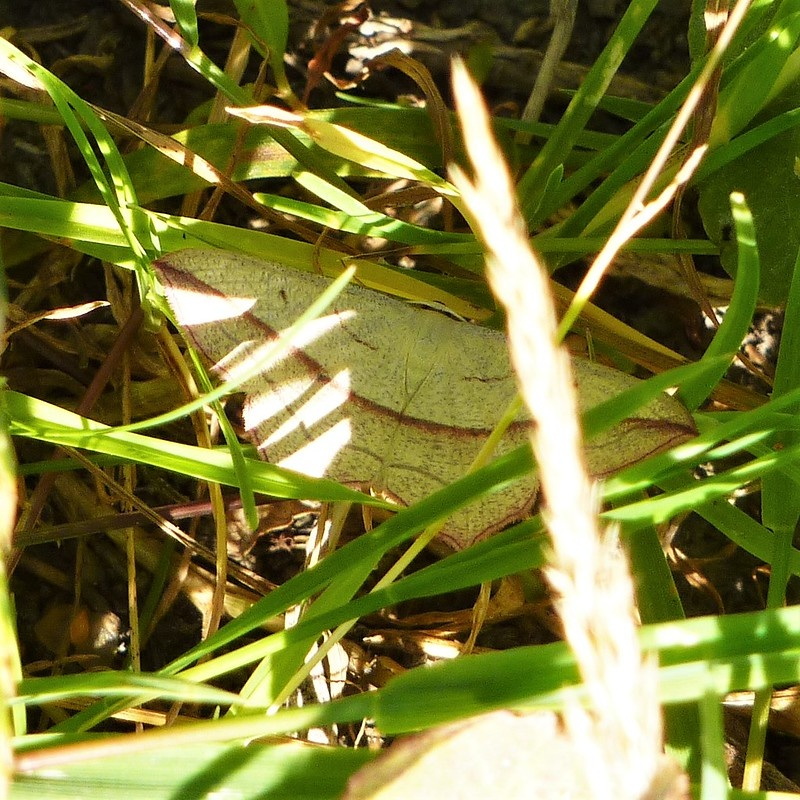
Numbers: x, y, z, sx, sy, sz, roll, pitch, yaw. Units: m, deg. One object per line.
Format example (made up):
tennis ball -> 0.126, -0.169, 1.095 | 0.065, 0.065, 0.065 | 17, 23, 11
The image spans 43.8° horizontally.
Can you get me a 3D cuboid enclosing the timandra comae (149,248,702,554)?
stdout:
timandra comae -> 0.012, 0.006, 1.391 | 0.746, 0.283, 0.249 | 20, 60, 11
